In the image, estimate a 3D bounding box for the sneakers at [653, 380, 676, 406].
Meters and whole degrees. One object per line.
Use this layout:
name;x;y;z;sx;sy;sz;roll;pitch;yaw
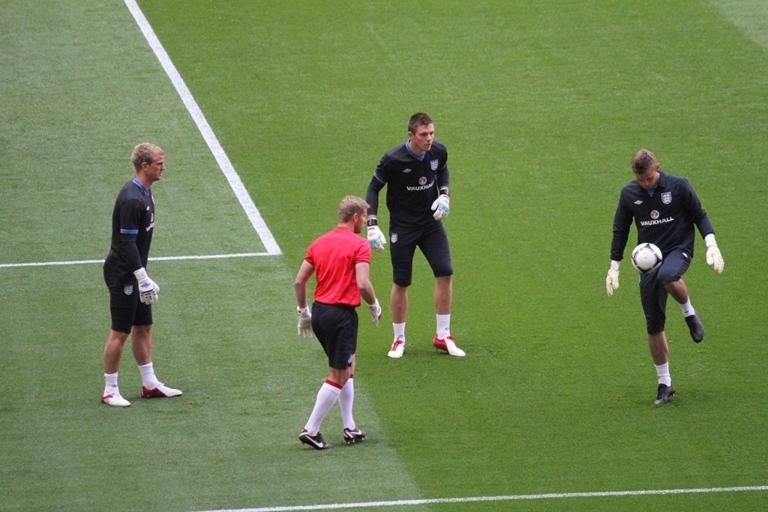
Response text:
sneakers;3.522;1.761;15.770;0.145;0.180;0.397;-14;7;38

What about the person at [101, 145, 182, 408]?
person;-3.150;0.262;15.792;1.097;3.239;0.757;-11;16;-34

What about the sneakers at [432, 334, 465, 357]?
sneakers;0.917;1.242;17.055;0.554;0.206;0.193;16;11;38

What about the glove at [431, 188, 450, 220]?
glove;0.776;-0.682;17.118;0.274;0.381;0.170;-6;-13;3

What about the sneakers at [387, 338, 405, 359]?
sneakers;0.168;1.260;17.048;0.232;0.240;0.351;-1;12;3

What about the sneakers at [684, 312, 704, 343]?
sneakers;3.949;0.917;15.895;0.185;0.472;0.221;-15;13;23

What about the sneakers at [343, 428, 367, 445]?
sneakers;-0.341;2.198;15.082;0.350;0.170;0.120;-5;11;-30

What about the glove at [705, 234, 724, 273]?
glove;4.474;0.009;17.034;0.208;0.571;0.183;-8;-31;8

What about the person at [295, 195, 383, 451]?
person;-0.595;0.821;14.995;1.042;2.938;0.765;-6;14;-17

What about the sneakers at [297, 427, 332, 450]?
sneakers;-0.811;2.217;14.982;0.457;0.193;0.170;25;3;-24

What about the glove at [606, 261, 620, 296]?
glove;3.076;0.344;16.832;0.150;0.504;0.172;19;-15;-4

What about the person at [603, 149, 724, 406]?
person;3.535;0.213;16.007;1.054;3.118;1.026;-11;16;-34

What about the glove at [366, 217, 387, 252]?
glove;-0.092;-0.288;16.749;0.135;0.208;0.500;31;25;-18

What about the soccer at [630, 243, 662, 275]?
soccer;3.296;0.013;15.738;0.385;0.350;0.362;8;37;10

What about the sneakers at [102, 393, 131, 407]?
sneakers;-3.345;1.836;15.810;0.310;0.112;0.164;2;7;19

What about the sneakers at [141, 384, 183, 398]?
sneakers;-2.807;1.731;16.092;0.562;0.198;0.185;-2;7;-2
